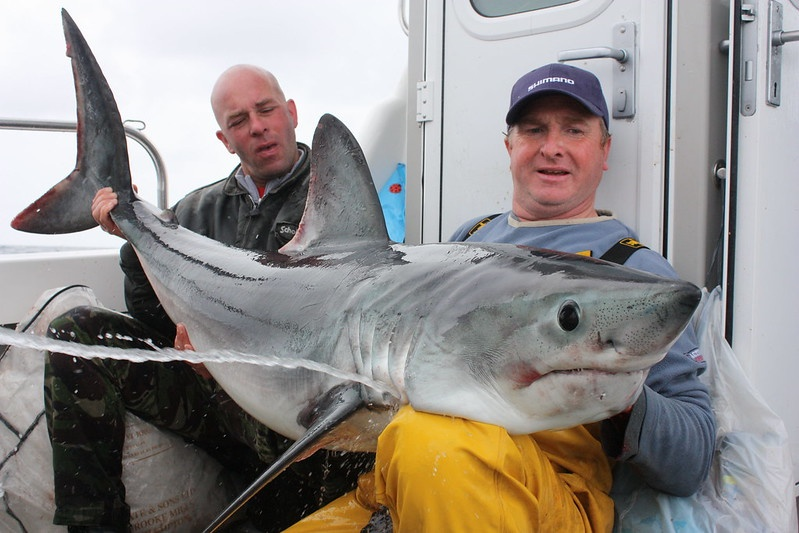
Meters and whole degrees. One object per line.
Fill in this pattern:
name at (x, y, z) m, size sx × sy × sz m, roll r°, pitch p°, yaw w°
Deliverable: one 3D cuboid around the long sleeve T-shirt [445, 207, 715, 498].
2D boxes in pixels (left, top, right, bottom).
long sleeve T-shirt at (0.785, 0.242, 3.645) m, size 1.308 × 0.581 × 0.766 m, roll 36°, pitch 20°, yaw 31°
